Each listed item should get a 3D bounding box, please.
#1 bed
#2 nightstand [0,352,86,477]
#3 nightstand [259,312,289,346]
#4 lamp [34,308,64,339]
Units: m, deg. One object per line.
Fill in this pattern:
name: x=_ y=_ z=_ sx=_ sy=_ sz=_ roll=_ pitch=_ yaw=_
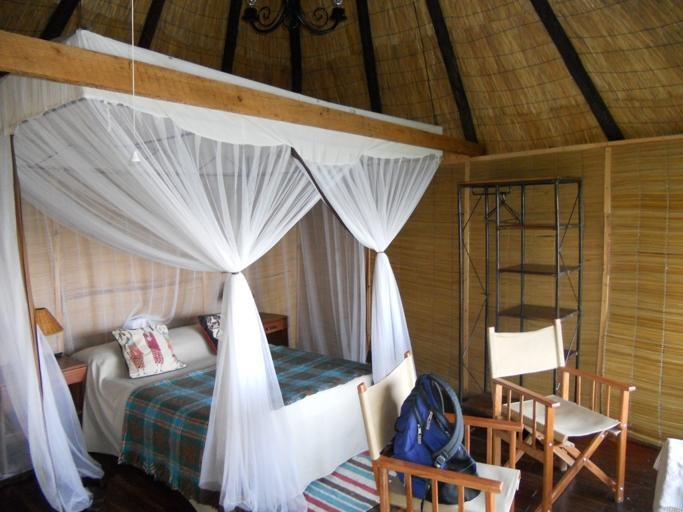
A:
bed: x=-1.062 y=1.195 z=3.869 sx=1.837 sy=0.760 sz=1.222 roll=3 pitch=10 yaw=34
nightstand: x=-2.270 y=1.197 z=3.687 sx=0.584 sy=1.037 sz=0.686 roll=-1 pitch=0 yaw=-29
nightstand: x=-0.767 y=0.888 z=5.426 sx=0.218 sy=0.251 sz=0.276 roll=-21 pitch=-10 yaw=15
lamp: x=-2.269 y=0.511 z=3.740 sx=0.235 sy=0.159 sz=0.250 roll=-3 pitch=12 yaw=6
